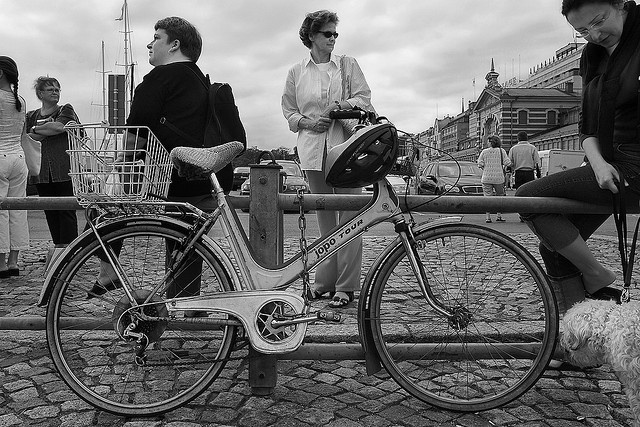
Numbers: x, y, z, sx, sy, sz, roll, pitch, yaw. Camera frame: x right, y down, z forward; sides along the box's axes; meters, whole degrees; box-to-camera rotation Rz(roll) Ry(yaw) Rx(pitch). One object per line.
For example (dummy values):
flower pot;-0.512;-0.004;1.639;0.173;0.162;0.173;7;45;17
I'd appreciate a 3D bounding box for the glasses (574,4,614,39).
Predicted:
glasses;1.928;-1.382;4.355;0.196;0.220;0.247;-9;8;-35

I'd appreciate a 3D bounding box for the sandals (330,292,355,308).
sandals;0.228;0.876;6.094;0.100;0.117;0.300;-8;-18;31

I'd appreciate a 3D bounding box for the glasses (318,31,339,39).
glasses;0.078;-1.826;6.145;0.189;0.100;0.148;-5;6;0
